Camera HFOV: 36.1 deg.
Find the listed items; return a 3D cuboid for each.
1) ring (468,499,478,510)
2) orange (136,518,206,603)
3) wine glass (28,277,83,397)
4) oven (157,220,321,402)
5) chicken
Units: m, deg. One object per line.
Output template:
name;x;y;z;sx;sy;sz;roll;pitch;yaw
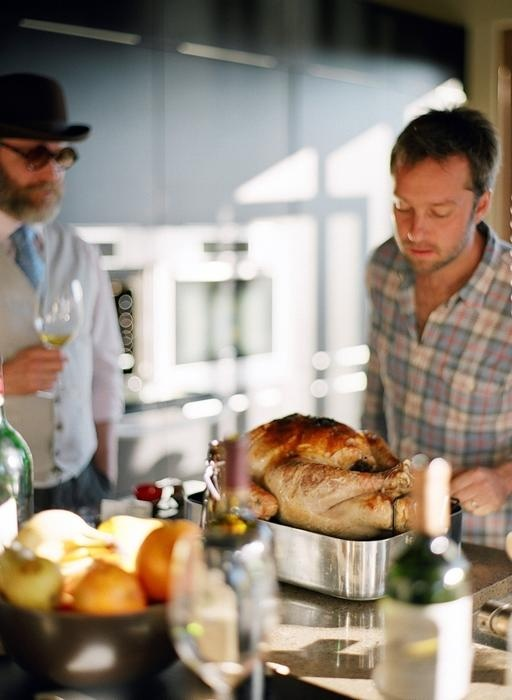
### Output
ring;0.349;0.247;1.254;0.006;0.014;0.015;-13;3;-21
orange;-0.067;0.193;0.736;0.069;0.057;0.074;8;-7;-1
wine glass;-0.361;-0.022;1.447;0.083;0.207;0.150;-3;4;-14
oven;-0.086;-0.148;2.902;0.839;0.649;0.429;-1;0;-39
chicken;0.102;0.158;1.132;0.188;0.088;0.253;-7;8;-42
